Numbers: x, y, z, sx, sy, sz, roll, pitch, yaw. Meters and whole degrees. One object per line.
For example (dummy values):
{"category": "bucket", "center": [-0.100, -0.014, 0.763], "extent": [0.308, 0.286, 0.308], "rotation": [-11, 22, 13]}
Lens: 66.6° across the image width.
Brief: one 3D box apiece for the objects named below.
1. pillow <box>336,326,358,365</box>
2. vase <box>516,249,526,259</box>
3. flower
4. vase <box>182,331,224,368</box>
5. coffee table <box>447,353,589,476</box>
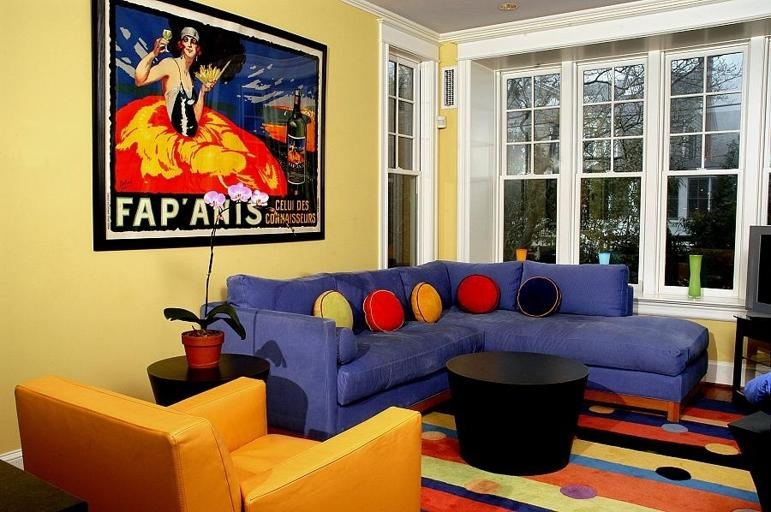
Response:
{"category": "pillow", "center": [-0.258, 0.613, 3.951], "extent": [0.134, 0.217, 0.242], "rotation": [-4, -6, 23]}
{"category": "vase", "center": [1.481, -0.025, 6.414], "extent": [0.107, 0.120, 0.113], "rotation": [3, 2, 34]}
{"category": "flower", "center": [-1.170, 0.050, 4.132], "extent": [0.653, 1.085, 1.243], "rotation": [-3, 6, -17]}
{"category": "vase", "center": [-1.113, 0.555, 3.608], "extent": [0.232, 0.168, 0.233], "rotation": [-1, -3, 25]}
{"category": "coffee table", "center": [0.857, 0.982, 3.776], "extent": [0.761, 0.461, 0.725], "rotation": [-2, 3, -30]}
